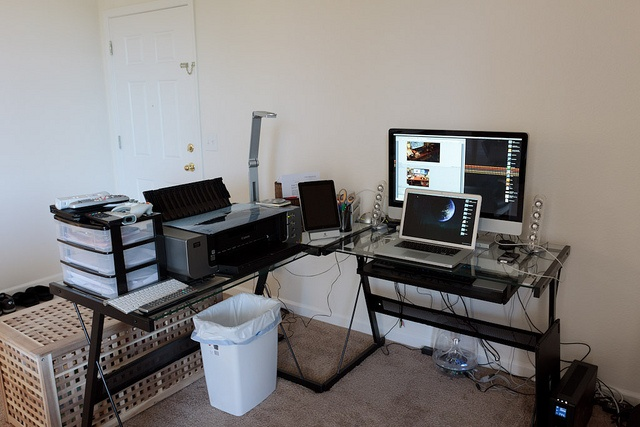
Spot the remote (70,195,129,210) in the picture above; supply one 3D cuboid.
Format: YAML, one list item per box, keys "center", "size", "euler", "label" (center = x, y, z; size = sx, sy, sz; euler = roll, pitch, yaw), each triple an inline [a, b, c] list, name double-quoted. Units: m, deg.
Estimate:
- center: [-1.307, -0.073, 2.654]
  size: [0.110, 0.034, 0.206]
  euler: [9, 16, 36]
  label: "remote"

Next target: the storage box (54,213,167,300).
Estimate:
- center: [-1.308, 0.187, 2.727]
  size: [0.643, 0.442, 0.369]
  euler: [12, 20, 31]
  label: "storage box"

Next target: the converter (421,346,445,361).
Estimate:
- center: [0.819, 1.022, 3.334]
  size: [0.199, 0.075, 0.047]
  euler: [8, 16, 29]
  label: "converter"

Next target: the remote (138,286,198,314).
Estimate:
- center: [-0.810, 0.471, 2.417]
  size: [0.299, 0.069, 0.087]
  euler: [-12, 18, -40]
  label: "remote"

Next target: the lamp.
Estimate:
- center: [-0.457, -0.381, 3.348]
  size: [0.129, 0.675, 0.231]
  euler: [1, -6, -42]
  label: "lamp"

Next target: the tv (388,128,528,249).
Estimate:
- center: [0.894, -0.234, 2.984]
  size: [0.892, 0.685, 0.217]
  euler: [9, 34, 26]
  label: "tv"

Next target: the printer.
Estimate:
- center: [-0.614, 0.100, 2.927]
  size: [0.786, 0.504, 0.857]
  euler: [9, 18, 39]
  label: "printer"

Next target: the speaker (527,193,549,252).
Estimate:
- center: [1.385, 0.055, 2.872]
  size: [0.081, 0.347, 0.191]
  euler: [7, 16, 25]
  label: "speaker"

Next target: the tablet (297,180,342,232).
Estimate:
- center: [-0.009, -0.051, 3.108]
  size: [0.274, 0.349, 0.039]
  euler: [-7, -7, -15]
  label: "tablet"

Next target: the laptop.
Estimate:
- center: [0.725, 0.076, 2.848]
  size: [0.586, 0.382, 0.524]
  euler: [10, 19, 33]
  label: "laptop"

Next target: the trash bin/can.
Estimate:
- center: [-0.520, 0.932, 3.013]
  size: [0.514, 0.603, 0.561]
  euler: [2, 10, 36]
  label: "trash bin/can"

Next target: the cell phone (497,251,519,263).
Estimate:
- center: [1.166, 0.266, 2.771]
  size: [0.065, 0.028, 0.119]
  euler: [12, 22, 35]
  label: "cell phone"
